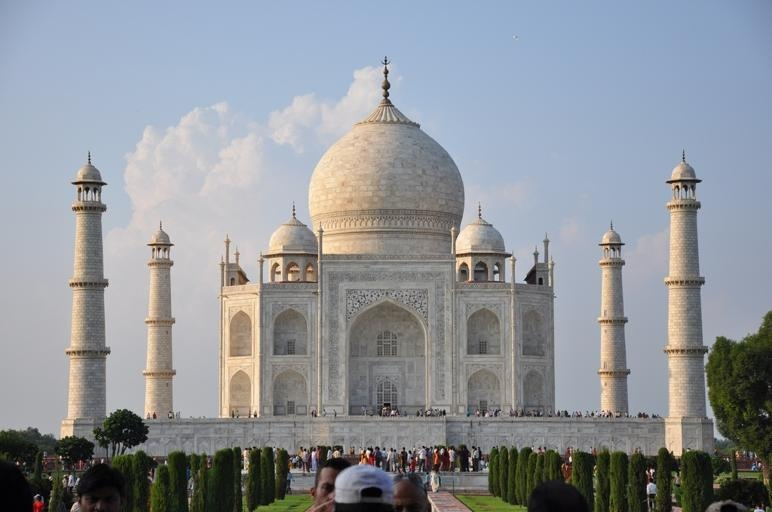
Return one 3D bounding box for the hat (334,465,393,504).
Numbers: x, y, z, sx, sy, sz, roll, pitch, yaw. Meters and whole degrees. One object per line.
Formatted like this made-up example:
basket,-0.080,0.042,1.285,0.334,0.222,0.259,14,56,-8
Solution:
hat,-0.565,5.376,46.134,1.371,0.964,0.270,0,-13,-2
